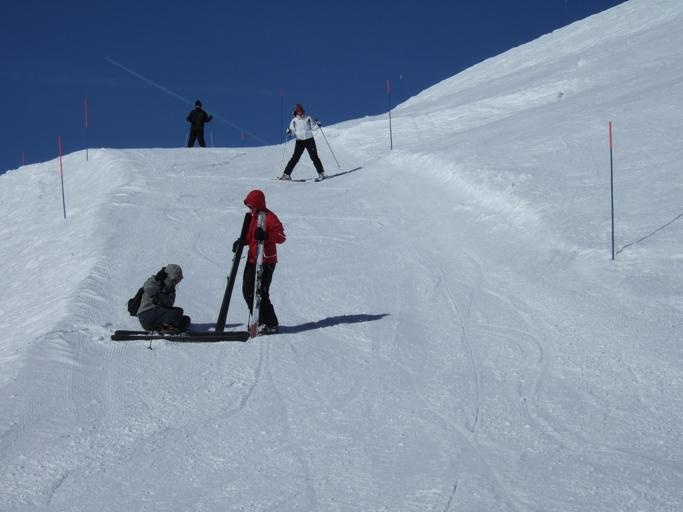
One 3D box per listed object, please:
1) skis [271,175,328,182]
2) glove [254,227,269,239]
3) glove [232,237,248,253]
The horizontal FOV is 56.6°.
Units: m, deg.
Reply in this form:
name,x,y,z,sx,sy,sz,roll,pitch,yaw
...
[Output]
name,x,y,z,sx,sy,sz,roll,pitch,yaw
skis,-1.132,-2.041,16.878,1.290,0.148,0.155,-3,58,4
glove,-1.040,-0.289,8.297,0.135,0.106,0.142,0,11,-9
glove,-1.496,-0.158,9.393,0.061,0.274,0.102,21,-1,14
